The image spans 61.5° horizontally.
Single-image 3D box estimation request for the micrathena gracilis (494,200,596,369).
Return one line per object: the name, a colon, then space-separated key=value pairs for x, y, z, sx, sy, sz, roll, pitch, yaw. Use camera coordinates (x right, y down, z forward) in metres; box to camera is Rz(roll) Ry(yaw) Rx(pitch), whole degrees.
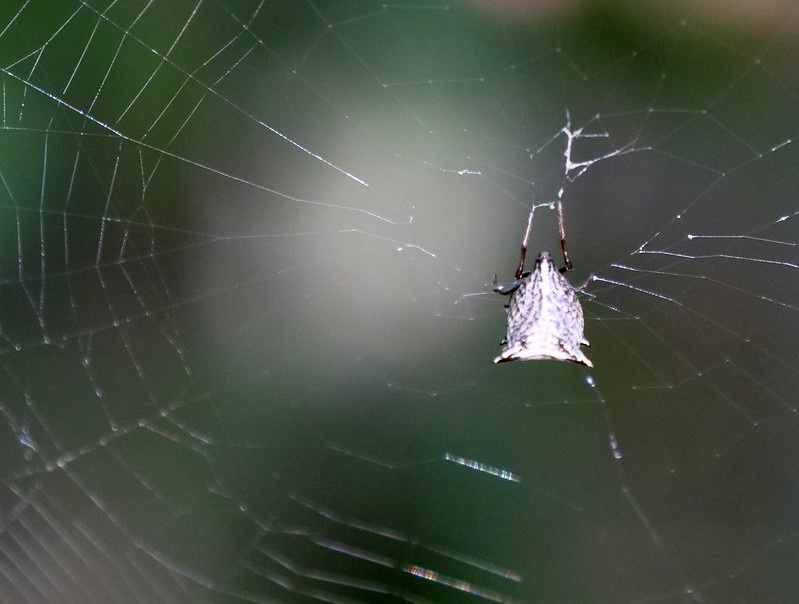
micrathena gracilis: x=0.503 y=-0.042 z=2.383 sx=0.352 sy=0.626 sz=0.252 roll=2 pitch=-25 yaw=16
